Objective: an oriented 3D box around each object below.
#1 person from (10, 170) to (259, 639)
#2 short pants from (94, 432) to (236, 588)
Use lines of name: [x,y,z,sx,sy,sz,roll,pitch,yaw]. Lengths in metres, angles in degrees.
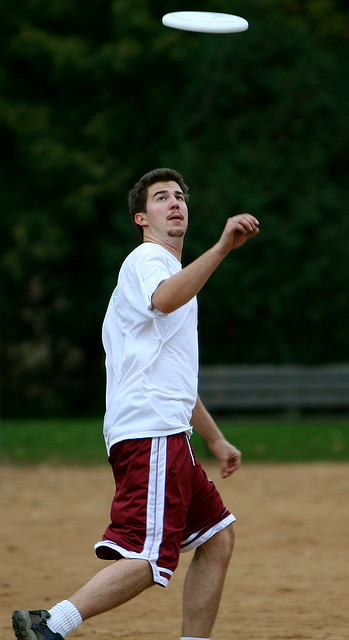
person: [-0.126,0.245,2.414,0.707,1.376,0.579,-1,0,-11]
short pants: [-0.043,0.526,2.396,0.289,0.423,0.434,-1,-1,17]
